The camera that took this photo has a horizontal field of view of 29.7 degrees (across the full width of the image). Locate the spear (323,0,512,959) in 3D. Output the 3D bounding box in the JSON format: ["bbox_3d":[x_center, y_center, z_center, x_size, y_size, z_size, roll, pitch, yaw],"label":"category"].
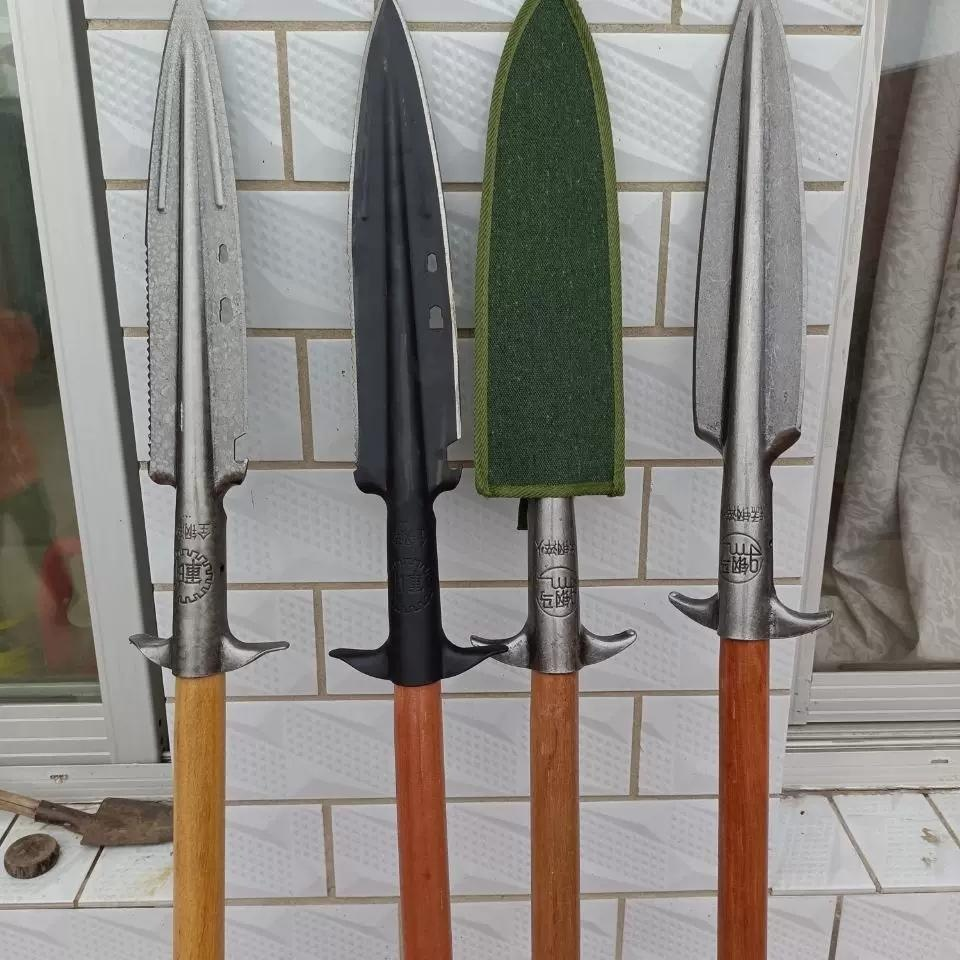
[{"bbox_3d":[-0.079,0.007,1.705,0.133,0.891,0.204,-10,18,-42],"label":"spear"}]
